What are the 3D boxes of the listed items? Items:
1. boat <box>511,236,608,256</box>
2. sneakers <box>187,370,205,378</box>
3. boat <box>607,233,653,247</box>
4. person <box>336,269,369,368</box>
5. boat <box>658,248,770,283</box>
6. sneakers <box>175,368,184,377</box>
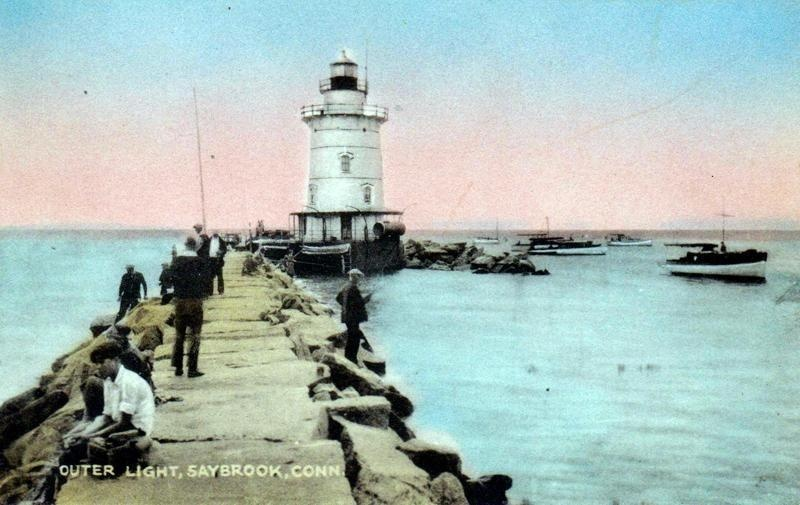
[{"bbox_3d":[20.961,-0.810,97.320,8.803,2.343,8.381,0,3,-44],"label":"boat"},{"bbox_3d":[-4.831,2.859,17.616,0.389,0.146,0.128,-2,3,-15],"label":"sneakers"},{"bbox_3d":[39.986,-2.254,130.520,6.970,2.035,12.813,2,2,14],"label":"boat"},{"bbox_3d":[-1.304,1.779,20.460,0.808,2.684,1.437,2,2,-2],"label":"person"},{"bbox_3d":[25.175,0.823,58.992,1.984,2.473,7.910,1,2,-30],"label":"boat"},{"bbox_3d":[-5.210,2.802,17.589,0.210,0.168,0.188,5,16,22],"label":"sneakers"}]
